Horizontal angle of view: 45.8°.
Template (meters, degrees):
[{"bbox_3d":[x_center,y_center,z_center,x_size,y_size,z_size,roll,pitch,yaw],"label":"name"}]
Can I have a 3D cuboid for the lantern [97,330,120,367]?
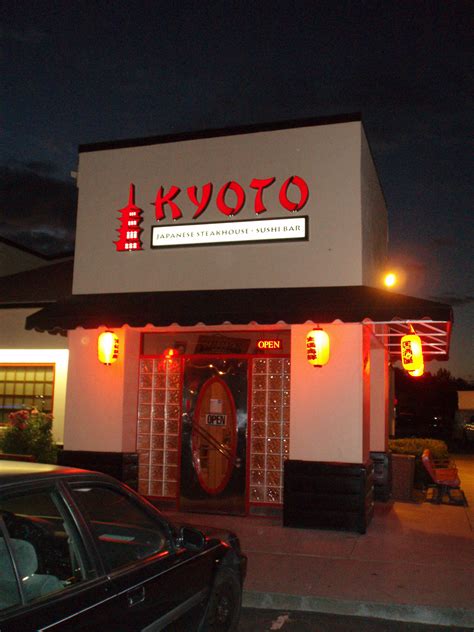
[{"bbox_3d":[-2.185,0.545,9.518,0.356,0.587,0.418,2,-6,-7],"label":"lantern"}]

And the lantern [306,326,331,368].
[{"bbox_3d":[1.241,0.480,8.588,0.340,0.608,0.322,0,-6,13],"label":"lantern"}]

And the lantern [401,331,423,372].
[{"bbox_3d":[3.048,0.672,9.742,0.358,0.712,1.515,0,-5,17],"label":"lantern"}]

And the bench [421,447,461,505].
[{"bbox_3d":[4.502,3.438,12.111,0.827,1.053,2.011,-1,-5,22],"label":"bench"}]
